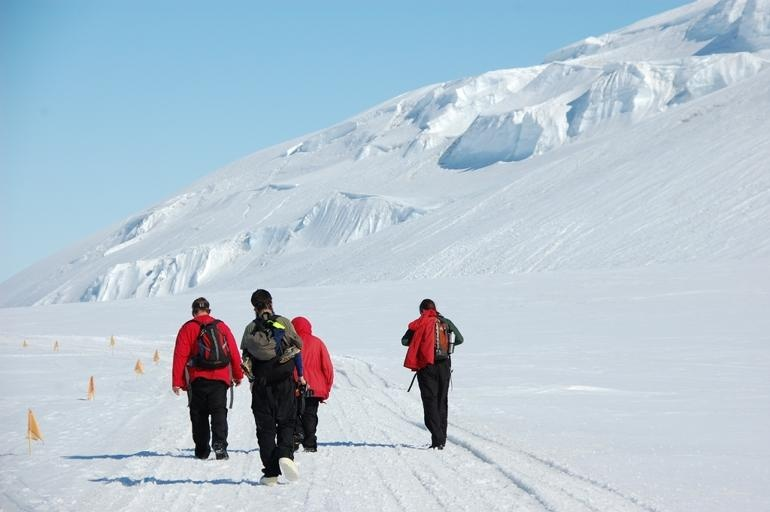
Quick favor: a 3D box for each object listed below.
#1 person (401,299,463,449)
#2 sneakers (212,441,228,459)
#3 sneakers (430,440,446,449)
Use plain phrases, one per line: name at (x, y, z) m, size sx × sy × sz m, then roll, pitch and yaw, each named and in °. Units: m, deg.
person at (1.198, 2.982, 22.222) m, size 1.330 × 3.729 × 0.567 m, roll -4°, pitch -3°, yaw 4°
sneakers at (-4.001, 4.694, 21.327) m, size 0.235 × 0.581 × 0.277 m, roll -11°, pitch 8°, yaw 8°
sneakers at (1.292, 4.722, 21.956) m, size 0.383 × 0.234 × 0.188 m, roll -4°, pitch -3°, yaw 3°
